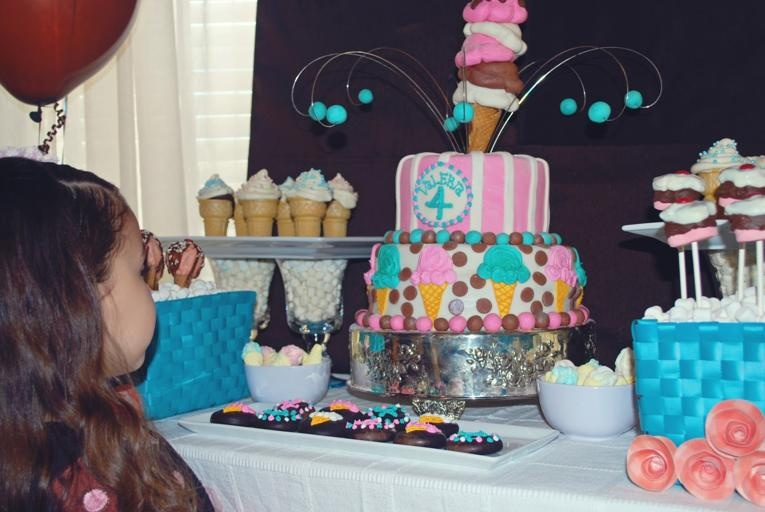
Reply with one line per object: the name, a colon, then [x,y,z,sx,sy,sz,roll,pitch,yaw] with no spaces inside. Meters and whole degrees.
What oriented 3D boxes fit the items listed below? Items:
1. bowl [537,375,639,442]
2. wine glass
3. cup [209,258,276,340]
bowl: [0.536,0.380,2.053,0.170,0.084,0.166,-1,0,0]
wine glass: [-0.260,0.198,2.890,0.272,0.387,0.256,-1,-3,-5]
cup: [-0.492,0.159,2.968,0.279,0.334,0.247,1,-2,-33]
